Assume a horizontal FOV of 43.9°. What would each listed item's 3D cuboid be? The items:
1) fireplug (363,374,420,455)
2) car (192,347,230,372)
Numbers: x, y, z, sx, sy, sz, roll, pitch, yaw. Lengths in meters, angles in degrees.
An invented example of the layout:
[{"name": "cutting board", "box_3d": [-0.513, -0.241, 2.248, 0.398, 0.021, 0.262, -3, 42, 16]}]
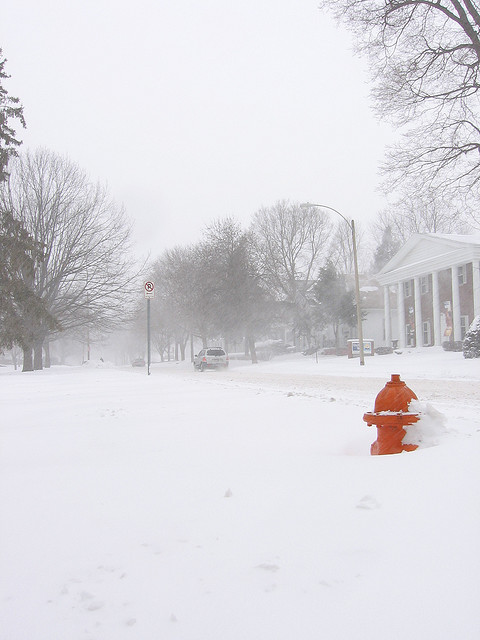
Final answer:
[{"name": "fireplug", "box_3d": [1.004, 0.701, 4.133, 0.348, 0.655, 0.463, 2, -13, -7]}, {"name": "car", "box_3d": [-1.501, 1.949, 29.355, 0.736, 1.113, 1.947, 0, 0, -12]}]
